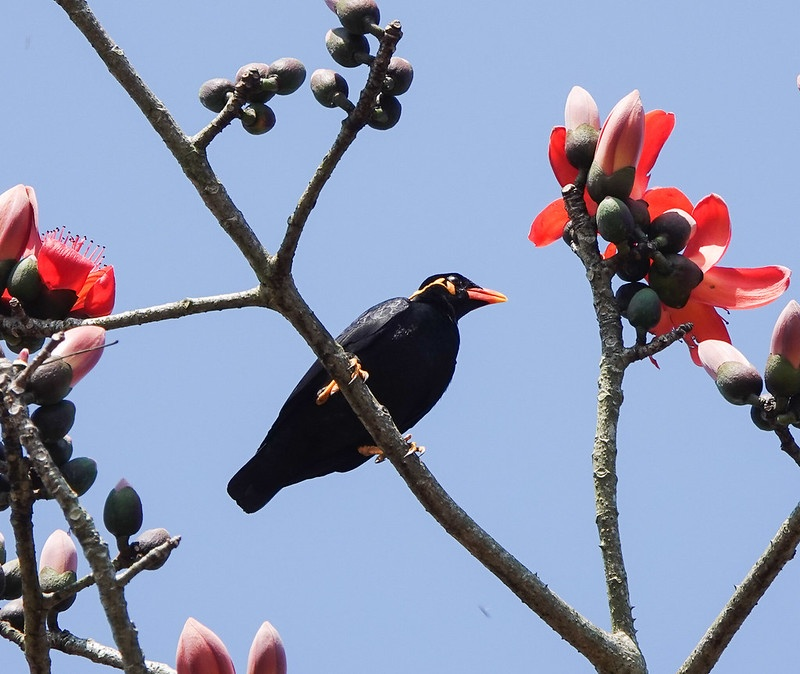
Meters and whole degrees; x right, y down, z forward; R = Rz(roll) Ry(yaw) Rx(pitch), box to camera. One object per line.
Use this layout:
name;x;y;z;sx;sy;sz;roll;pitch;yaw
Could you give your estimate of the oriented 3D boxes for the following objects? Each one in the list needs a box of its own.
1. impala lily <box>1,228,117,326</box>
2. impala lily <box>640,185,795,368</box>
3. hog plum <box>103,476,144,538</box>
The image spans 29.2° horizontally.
impala lily;-1.204;-0.221;5.572;0.382;0.338;0.270;21;-53;-12
impala lily;1.080;-0.175;5.420;0.434;0.430;0.633;-6;-91;-11
hog plum;-0.934;0.593;5.230;0.126;0.133;0.216;-1;-96;6
